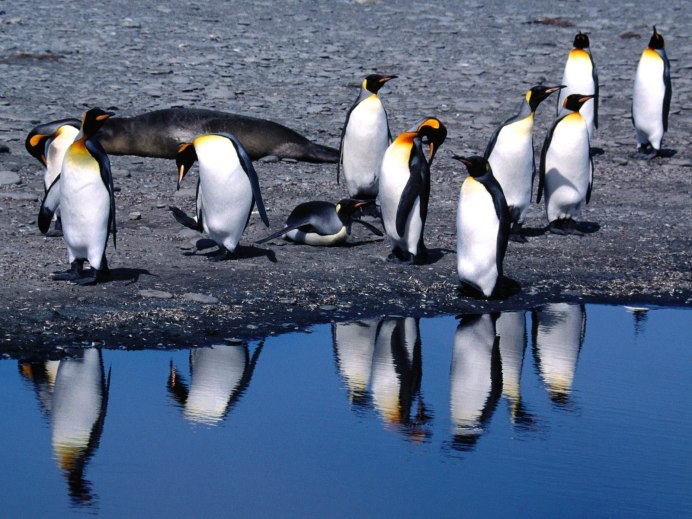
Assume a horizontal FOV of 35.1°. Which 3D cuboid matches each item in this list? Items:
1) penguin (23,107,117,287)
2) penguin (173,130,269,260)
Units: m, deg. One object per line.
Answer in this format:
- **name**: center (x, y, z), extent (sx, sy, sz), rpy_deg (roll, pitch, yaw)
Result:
- **penguin**: center (-2.037, -0.484, 8.420), extent (0.571, 1.363, 0.266), rpy_deg (-7, 19, -11)
- **penguin**: center (-1.047, -0.553, 9.201), extent (0.478, 1.058, 0.573), rpy_deg (-15, 22, -33)
